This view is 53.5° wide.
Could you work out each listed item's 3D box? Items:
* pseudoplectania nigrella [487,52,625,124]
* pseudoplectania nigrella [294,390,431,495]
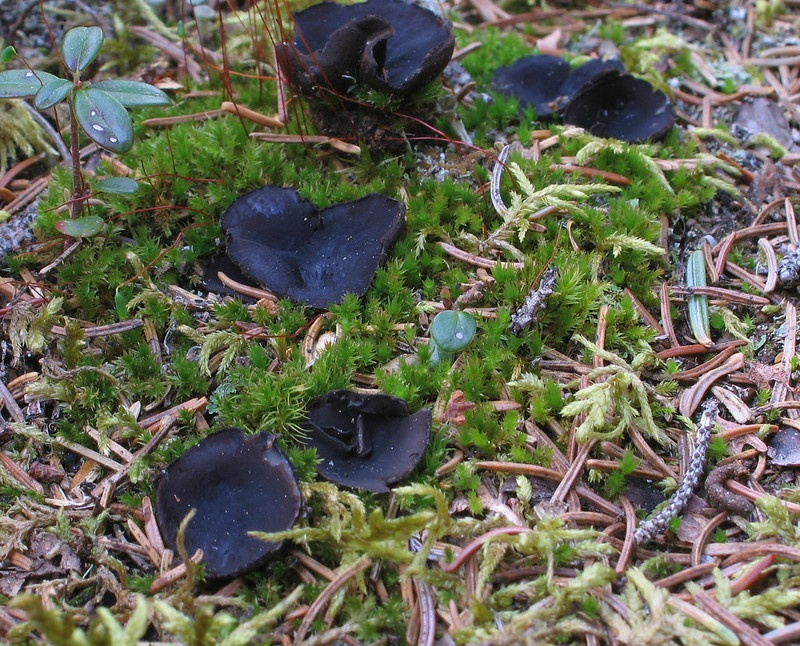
[{"bbox_3d":[0.878,-1.458,4.790,0.526,0.213,0.505,-42,61,-9],"label":"pseudoplectania nigrella"},{"bbox_3d":[-0.155,0.506,3.450,0.548,0.178,0.425,11,79,-1],"label":"pseudoplectania nigrella"}]
